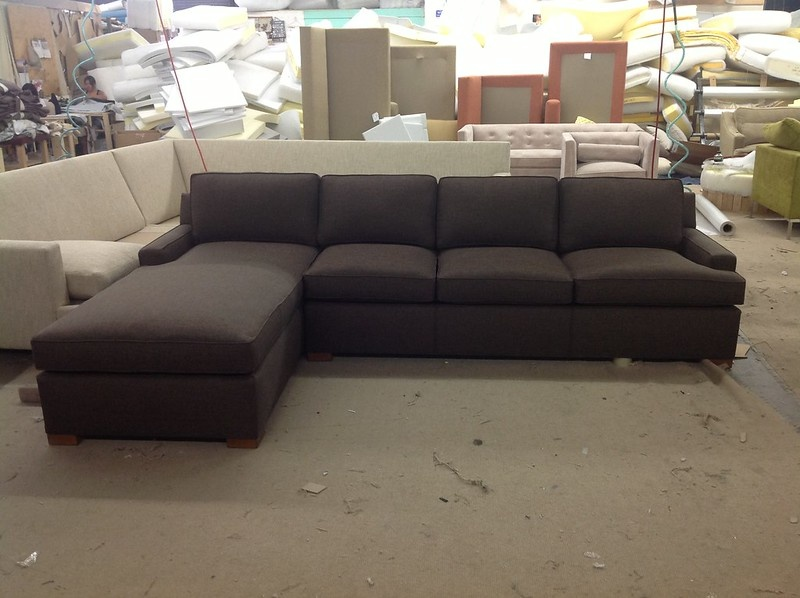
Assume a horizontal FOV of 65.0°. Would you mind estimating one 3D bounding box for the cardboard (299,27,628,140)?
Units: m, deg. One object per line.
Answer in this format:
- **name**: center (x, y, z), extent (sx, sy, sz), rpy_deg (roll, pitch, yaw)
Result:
- **cardboard**: center (0.682, -2.045, 5.979), extent (3.445, 1.099, 1.665), rpy_deg (-14, 26, -26)
